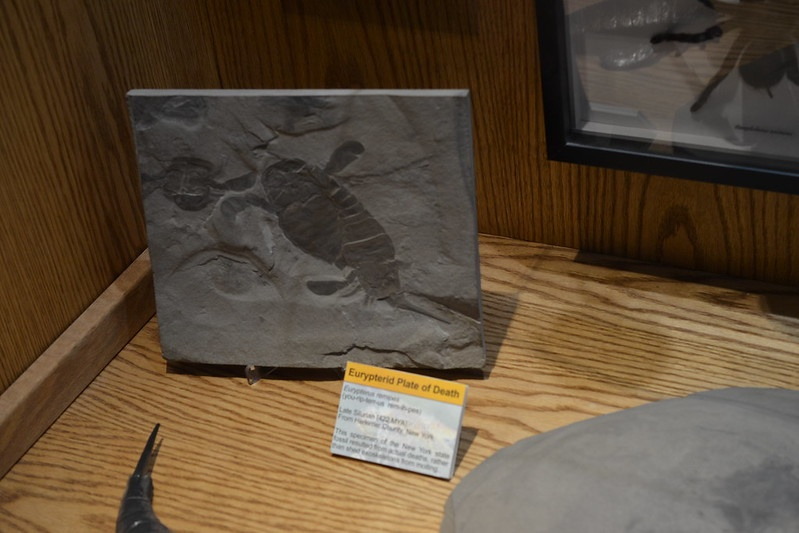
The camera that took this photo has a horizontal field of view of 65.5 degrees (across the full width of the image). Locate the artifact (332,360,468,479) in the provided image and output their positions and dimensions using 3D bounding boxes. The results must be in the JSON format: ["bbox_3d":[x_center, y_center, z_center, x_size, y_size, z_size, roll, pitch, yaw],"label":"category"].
[{"bbox_3d":[-0.002,0.276,1.113,0.225,0.144,0.126,8,45,16],"label":"artifact"}]

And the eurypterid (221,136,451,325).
[{"bbox_3d":[-0.119,-0.042,1.125,0.253,0.405,0.023,-29,20,24],"label":"eurypterid"}]
